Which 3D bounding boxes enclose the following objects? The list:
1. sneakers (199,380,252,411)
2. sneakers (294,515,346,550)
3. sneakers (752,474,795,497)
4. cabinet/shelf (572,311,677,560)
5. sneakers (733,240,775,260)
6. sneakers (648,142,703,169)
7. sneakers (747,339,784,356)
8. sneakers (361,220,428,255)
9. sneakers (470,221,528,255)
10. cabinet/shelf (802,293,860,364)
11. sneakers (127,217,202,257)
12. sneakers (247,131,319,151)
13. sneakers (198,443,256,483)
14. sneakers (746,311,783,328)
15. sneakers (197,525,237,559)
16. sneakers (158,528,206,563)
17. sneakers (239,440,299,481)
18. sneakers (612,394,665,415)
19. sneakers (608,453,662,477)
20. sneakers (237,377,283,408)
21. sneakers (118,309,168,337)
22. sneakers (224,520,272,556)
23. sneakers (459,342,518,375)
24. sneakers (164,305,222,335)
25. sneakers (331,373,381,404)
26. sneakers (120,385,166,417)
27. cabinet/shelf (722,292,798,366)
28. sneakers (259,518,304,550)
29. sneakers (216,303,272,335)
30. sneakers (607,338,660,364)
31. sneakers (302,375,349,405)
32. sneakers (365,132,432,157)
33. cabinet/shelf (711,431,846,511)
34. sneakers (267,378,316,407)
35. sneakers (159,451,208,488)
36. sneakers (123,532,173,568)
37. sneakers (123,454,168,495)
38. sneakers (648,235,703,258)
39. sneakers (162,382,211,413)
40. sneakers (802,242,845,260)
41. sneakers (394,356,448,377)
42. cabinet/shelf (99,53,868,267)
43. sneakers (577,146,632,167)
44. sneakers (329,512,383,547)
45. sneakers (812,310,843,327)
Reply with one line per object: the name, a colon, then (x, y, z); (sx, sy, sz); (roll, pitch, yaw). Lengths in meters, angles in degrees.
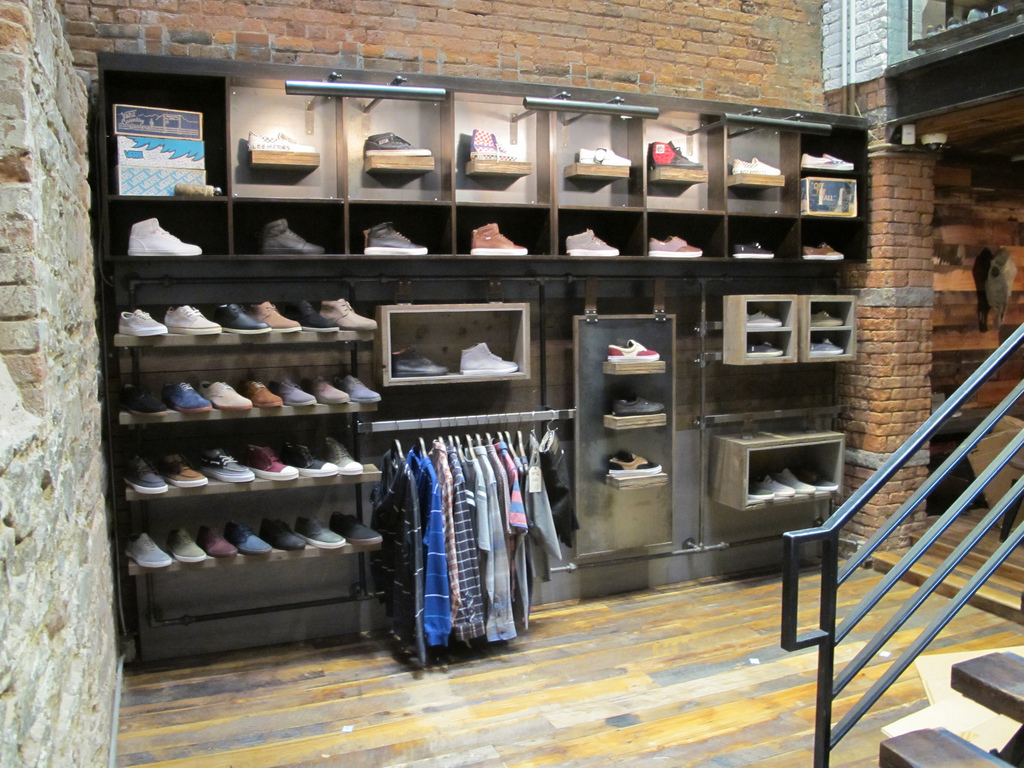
sneakers: (-1.581, 0.071, 4.550); (0.333, 0.093, 0.128); (9, 9, 24)
sneakers: (-1.127, 0.858, 4.809); (0.311, 0.090, 0.139); (15, 12, 36)
sneakers: (1.872, 0.751, 6.006); (0.330, 0.115, 0.269); (-4, 9, -17)
cabinet/shelf: (0.768, 0.370, 5.595); (0.780, 1.692, 0.340); (-3, 11, -9)
sneakers: (1.724, -0.942, 5.863); (0.304, 0.095, 0.159); (-1, 4, -14)
sneakers: (1.038, -1.531, 5.545); (0.481, 0.165, 0.142); (-1, 3, -22)
sneakers: (1.777, -0.257, 5.840); (0.334, 0.106, 0.095); (3, -2, -10)
sneakers: (-0.702, -0.855, 4.915); (0.364, 0.200, 0.161); (-3, 10, -12)
sneakers: (-0.033, -0.873, 5.104); (0.499, 0.204, 0.142); (0, 3, -11)
cabinet/shelf: (2.249, -0.400, 6.086); (0.610, 0.451, 0.195); (-4, 5, -35)
sneakers: (-1.920, -0.779, 4.457); (0.527, 0.190, 0.158); (-1, 5, -22)
sneakers: (-1.334, -1.372, 4.771); (0.443, 0.112, 0.133); (-2, 2, -24)
sneakers: (-1.593, 0.457, 4.643); (0.368, 0.114, 0.145); (7, 7, 36)
sneakers: (1.769, -0.450, 5.809); (0.216, 0.058, 0.131); (0, 3, -7)
sneakers: (-1.654, 0.892, 4.625); (0.123, 0.081, 0.296); (-1, 4, -36)
sneakers: (-1.801, 0.899, 4.564); (0.129, 0.089, 0.304); (1, 1, -35)
sneakers: (-1.395, 0.441, 4.695); (0.358, 0.103, 0.157); (13, 13, 31)
sneakers: (0.839, 0.151, 5.555); (0.368, 0.097, 0.124); (-1, 1, -15)
sneakers: (0.812, 0.539, 5.573); (0.354, 0.165, 0.189); (-3, 10, -13)
sneakers: (-1.439, 0.057, 4.688); (0.116, 0.091, 0.320); (-6, 8, -43)
sneakers: (-1.975, -0.321, 4.430); (0.232, 0.138, 0.229); (-4, 10, -18)
sneakers: (-1.509, 0.875, 4.705); (0.135, 0.082, 0.328); (-2, 8, -41)
sneakers: (-0.157, -0.160, 5.202); (0.370, 0.193, 0.255); (-3, 10, -12)
sneakers: (-1.728, -0.336, 4.444); (0.358, 0.109, 0.134); (3, 5, 23)
sneakers: (-0.922, 0.037, 4.842); (0.305, 0.097, 0.134); (11, 12, 42)
sneakers: (-1.983, 0.092, 4.440); (0.126, 0.097, 0.326); (-4, 8, -42)
cabinet/shelf: (1.736, -0.382, 5.823); (0.655, 0.472, 0.211); (-2, 3, -22)
sneakers: (-1.334, 0.867, 4.789); (0.333, 0.097, 0.124); (11, 8, 38)
sneakers: (-1.489, -0.356, 4.588); (0.268, 0.159, 0.203); (-4, 10, -18)
sneakers: (0.857, -0.213, 5.531); (0.425, 0.134, 0.135); (1, -2, -18)
sneakers: (-1.061, 0.048, 4.728); (0.294, 0.093, 0.115); (12, 13, 41)
sneakers: (-0.677, -1.392, 4.906); (0.343, 0.090, 0.165); (-1, 4, -19)
cabinet/shelf: (1.946, 0.606, 6.070); (1.060, 0.391, 0.324); (-3, 6, -31)
sneakers: (-1.240, 0.054, 4.730); (0.326, 0.102, 0.123); (18, 15, 33)
sneakers: (-1.806, 0.479, 4.544); (0.137, 0.097, 0.326); (-3, 9, -41)
sneakers: (-1.996, 0.907, 4.544); (0.224, 0.145, 0.316); (-6, 10, -25)
sneakers: (-1.977, 0.498, 4.473); (0.207, 0.180, 0.236); (-6, 11, -26)
sneakers: (1.068, -0.925, 5.600); (0.445, 0.130, 0.142); (0, 2, -11)
sneakers: (-1.773, 0.081, 4.520); (0.196, 0.149, 0.233); (-7, 11, -31)
sneakers: (2.257, -0.958, 6.057); (0.297, 0.094, 0.183); (-2, 5, -16)
sneakers: (-0.569, -0.091, 4.995); (0.342, 0.099, 0.110); (0, 0, -19)
cabinet/shelf: (-0.058, -1.266, 5.156); (4.608, 0.801, 0.428); (1, 9, -4)
sneakers: (0.570, -1.469, 5.425); (0.425, 0.115, 0.121); (0, 1, -21)
sneakers: (-0.946, 0.854, 4.890); (0.381, 0.101, 0.142); (11, 12, 43)
sneakers: (2.258, -0.473, 5.996); (0.291, 0.089, 0.090); (0, 3, -5)
